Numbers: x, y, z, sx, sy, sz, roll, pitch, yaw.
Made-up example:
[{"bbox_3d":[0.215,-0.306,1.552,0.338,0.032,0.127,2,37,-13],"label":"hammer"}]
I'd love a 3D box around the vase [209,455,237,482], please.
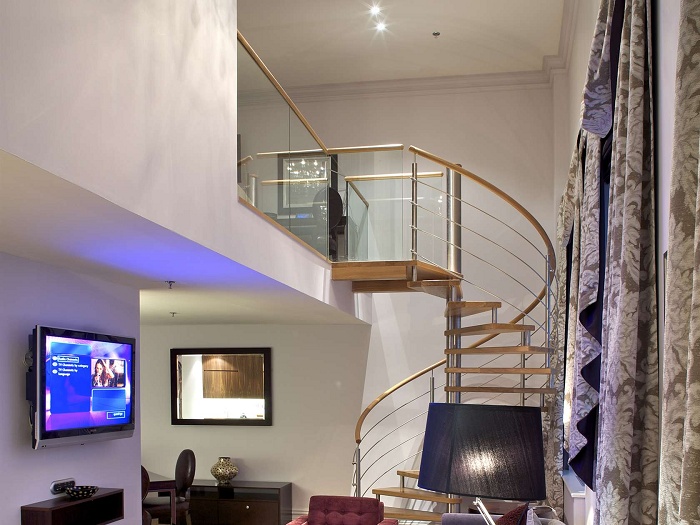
[{"bbox_3d":[-1.539,2.518,8.739,0.277,0.296,0.318,-3,-7,5],"label":"vase"}]
